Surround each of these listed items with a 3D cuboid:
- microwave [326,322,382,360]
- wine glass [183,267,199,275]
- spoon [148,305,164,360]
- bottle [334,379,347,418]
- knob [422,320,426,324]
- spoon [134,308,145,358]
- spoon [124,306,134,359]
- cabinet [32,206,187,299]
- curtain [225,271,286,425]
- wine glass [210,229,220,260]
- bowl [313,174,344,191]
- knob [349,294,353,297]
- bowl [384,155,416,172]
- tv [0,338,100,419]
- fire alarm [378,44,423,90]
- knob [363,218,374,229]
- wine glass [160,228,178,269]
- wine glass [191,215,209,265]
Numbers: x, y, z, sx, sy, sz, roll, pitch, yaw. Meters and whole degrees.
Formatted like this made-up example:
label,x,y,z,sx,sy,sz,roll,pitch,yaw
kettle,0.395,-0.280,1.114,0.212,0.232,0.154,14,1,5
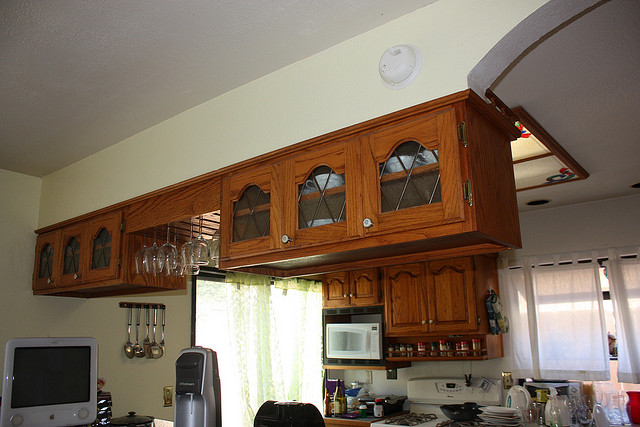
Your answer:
label,x,y,z,sx,sy,sz,roll,pitch,yaw
microwave,0.436,1.571,5.315,0.680,0.444,0.416,-6,-24,21
wine glass,-0.942,0.420,3.196,0.086,0.035,0.070,1,-2,26
spoon,-1.630,1.198,4.436,0.057,0.517,0.171,-12,-21,30
bottle,0.237,2.100,5.023,0.149,0.372,0.389,-3,-18,2
knob,1.141,1.181,4.805,0.017,0.034,0.033,10,2,-41
spoon,-1.764,1.182,4.318,0.049,0.427,0.112,-16,-22,37
spoon,-1.828,1.147,4.259,0.094,0.468,0.068,7,-20,-26
cabinet,-1.860,0.373,3.779,1.260,0.638,0.494,-11,-15,28
curtain,-0.760,1.557,5.146,0.249,1.655,0.900,-13,-21,32
wine glass,-0.717,0.214,3.019,0.106,0.207,0.044,-18,-24,40
bowl,0.046,-0.178,2.541,0.146,0.089,0.016,-6,-2,33
knob,0.374,0.979,5.274,0.033,0.031,0.017,-2,-4,38
bowl,0.433,-0.265,2.342,0.100,0.092,0.025,-7,-19,31
tv,-1.937,1.187,3.143,0.580,0.596,0.070,8,-22,-30
fire alarm,0.402,-0.805,2.439,0.220,0.222,0.052,22,15,-33
knob,0.261,0.051,2.360,0.060,0.055,0.026,-12,-20,27
wine glass,-1.127,0.271,3.289,0.111,0.285,0.111,-3,-5,13
wine glass,-0.837,0.174,3.081,0.141,0.352,0.142,-7,25,-32
